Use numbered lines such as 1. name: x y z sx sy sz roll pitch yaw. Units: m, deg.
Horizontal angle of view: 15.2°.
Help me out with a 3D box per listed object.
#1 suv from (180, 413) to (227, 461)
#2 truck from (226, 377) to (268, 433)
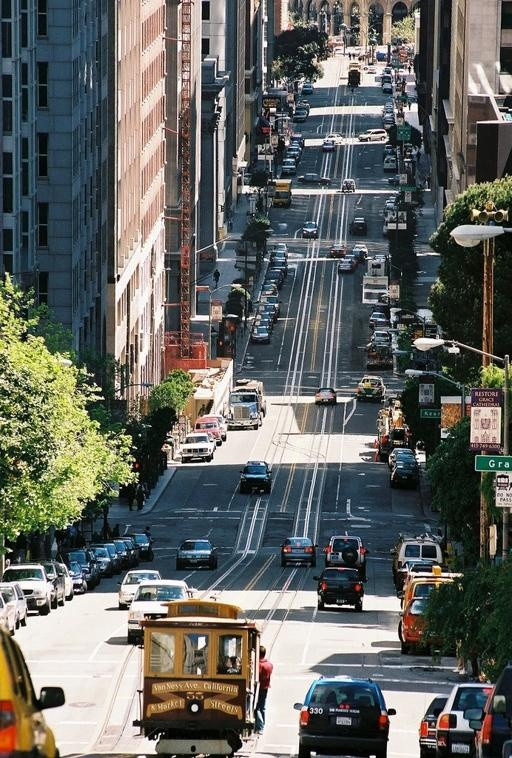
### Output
1. suv: -3.160 3.535 107.407 1.688 1.792 6.459 -3 8 6
2. truck: -0.670 1.192 119.938 2.444 2.703 12.350 -4 8 0
